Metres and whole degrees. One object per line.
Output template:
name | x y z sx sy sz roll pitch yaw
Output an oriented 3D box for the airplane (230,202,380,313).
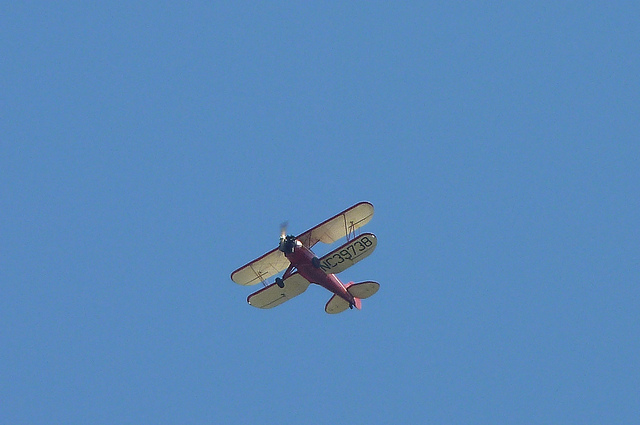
airplane | -0.226 1.645 37.893 4.181 2.530 2.629 -14 82 -1
